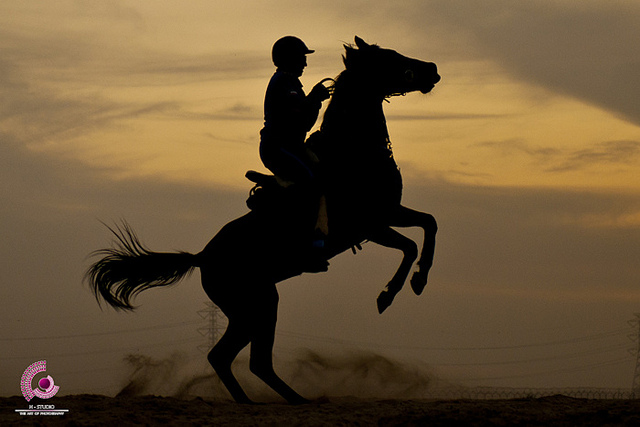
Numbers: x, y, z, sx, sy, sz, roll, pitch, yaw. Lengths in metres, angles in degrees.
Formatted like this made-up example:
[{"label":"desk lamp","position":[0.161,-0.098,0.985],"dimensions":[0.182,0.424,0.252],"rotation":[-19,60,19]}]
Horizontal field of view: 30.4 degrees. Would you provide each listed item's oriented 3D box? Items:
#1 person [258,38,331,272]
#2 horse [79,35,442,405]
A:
[{"label":"person","position":[-0.327,-0.813,20.587],"dimensions":[0.809,3.390,1.174],"rotation":[-11,-17,40]},{"label":"horse","position":[-0.619,0.168,21.089],"dimensions":[5.501,6.376,1.956],"rotation":[0,-13,4]}]
